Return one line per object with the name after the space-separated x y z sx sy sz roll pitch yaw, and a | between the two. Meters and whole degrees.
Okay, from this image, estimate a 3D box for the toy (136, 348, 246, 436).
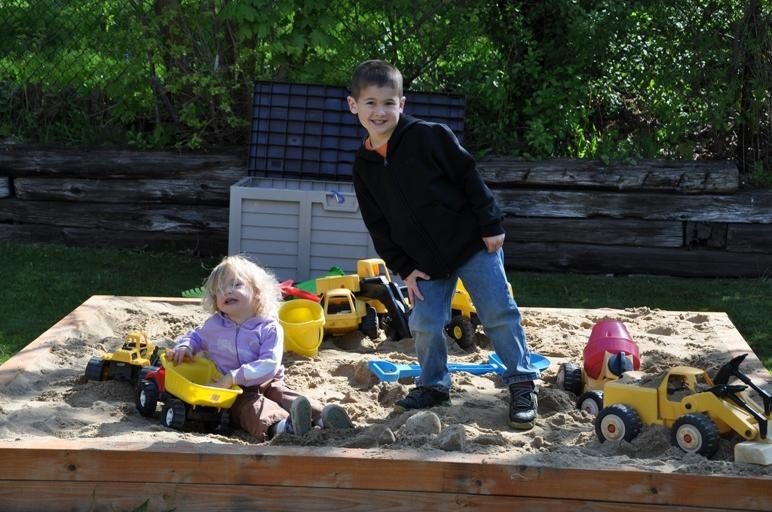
-1.406 0.980 6.178 0.459 0.457 0.809 3 10 -37 | toy

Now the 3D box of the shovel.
0.444 0.862 6.774 1.018 0.118 0.503 0 6 -19 | shovel

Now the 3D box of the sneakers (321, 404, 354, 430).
-0.351 1.071 5.838 0.246 0.175 0.149 3 7 17 | sneakers

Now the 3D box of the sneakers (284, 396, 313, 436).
-0.568 1.067 5.819 0.105 0.297 0.114 -1 -1 -37 | sneakers

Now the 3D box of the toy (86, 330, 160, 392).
-1.952 0.779 6.637 0.434 0.265 0.441 0 5 2 | toy

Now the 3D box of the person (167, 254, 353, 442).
-0.958 0.715 6.154 0.881 1.143 1.540 -7 18 -32 | person

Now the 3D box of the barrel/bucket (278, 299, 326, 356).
-0.679 0.556 7.127 0.392 0.337 0.418 1 40 -1 | barrel/bucket

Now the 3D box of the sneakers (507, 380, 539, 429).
0.958 1.028 6.108 0.199 0.300 0.275 2 7 9 | sneakers

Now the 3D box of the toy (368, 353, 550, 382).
0.485 0.862 6.786 1.015 0.135 0.504 0 5 -18 | toy

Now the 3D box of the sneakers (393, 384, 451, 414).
0.242 1.038 6.254 0.410 0.193 0.153 2 -6 -13 | sneakers
